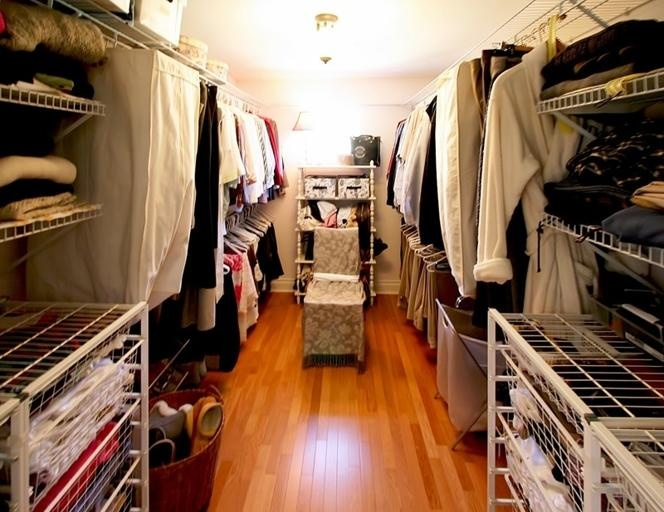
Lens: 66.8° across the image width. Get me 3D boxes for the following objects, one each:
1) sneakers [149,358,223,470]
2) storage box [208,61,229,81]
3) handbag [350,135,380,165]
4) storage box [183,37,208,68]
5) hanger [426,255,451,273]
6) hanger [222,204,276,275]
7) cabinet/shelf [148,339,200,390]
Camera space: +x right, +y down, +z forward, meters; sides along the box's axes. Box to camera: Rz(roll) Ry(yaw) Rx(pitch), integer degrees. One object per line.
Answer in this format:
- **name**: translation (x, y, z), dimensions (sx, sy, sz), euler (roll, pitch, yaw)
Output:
- **sneakers**: translation (-0.628, 0.706, 2.104), dimensions (0.260, 0.139, 0.230), euler (5, 6, 43)
- **storage box**: translation (-0.681, -1.123, 3.020), dimensions (0.111, 0.107, 0.148), euler (1, 15, -6)
- **handbag**: translation (0.308, -0.986, 4.646), dimensions (0.252, 0.276, 0.114), euler (0, 3, 6)
- **storage box**: translation (-0.697, -1.046, 2.583), dimensions (0.119, 0.108, 0.165), euler (7, 18, -8)
- **hanger**: translation (0.618, 0.044, 2.876), dimensions (0.190, 0.085, 0.068), euler (-2, 1, 23)
- **hanger**: translation (-0.635, -0.115, 3.839), dimensions (0.343, 0.523, 0.153), euler (-2, 30, -7)
- **cabinet/shelf**: translation (-0.827, 0.605, 2.644), dimensions (0.111, 0.165, 0.385), euler (20, 17, -9)
